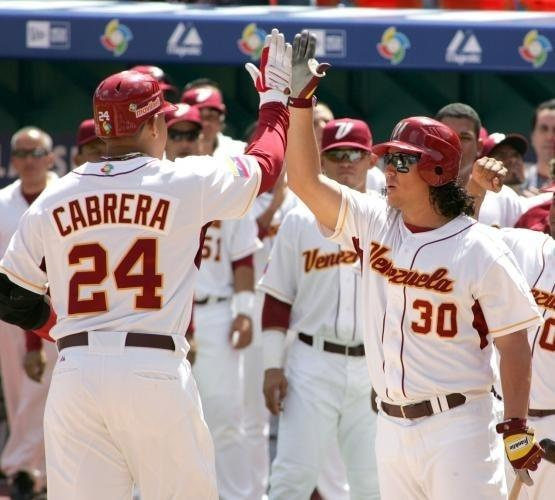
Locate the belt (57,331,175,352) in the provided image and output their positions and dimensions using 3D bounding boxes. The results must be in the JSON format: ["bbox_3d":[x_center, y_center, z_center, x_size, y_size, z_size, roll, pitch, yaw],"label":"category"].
[{"bbox_3d":[-0.712,0.414,5.386,0.509,0.117,0.102,-4,7,7],"label":"belt"}]

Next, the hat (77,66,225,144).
[{"bbox_3d":[-0.645,-0.666,5.577,0.371,0.192,0.247,-27,32,-31],"label":"hat"}]

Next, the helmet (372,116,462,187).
[{"bbox_3d":[0.636,-0.448,5.665,0.376,0.290,0.281,6,-3,-3],"label":"helmet"}]
